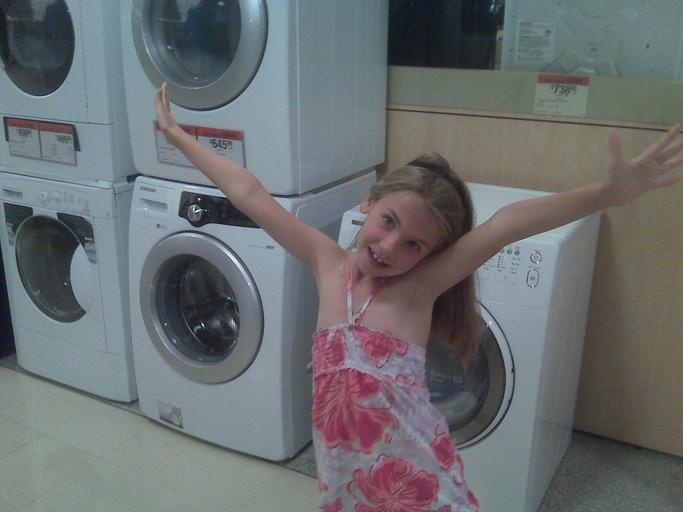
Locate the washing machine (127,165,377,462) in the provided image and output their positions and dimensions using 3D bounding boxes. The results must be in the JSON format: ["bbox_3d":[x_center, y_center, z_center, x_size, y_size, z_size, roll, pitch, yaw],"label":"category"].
[{"bbox_3d":[-0.367,0.276,2.282,0.743,1.168,0.800,12,22,28],"label":"washing machine"}]
